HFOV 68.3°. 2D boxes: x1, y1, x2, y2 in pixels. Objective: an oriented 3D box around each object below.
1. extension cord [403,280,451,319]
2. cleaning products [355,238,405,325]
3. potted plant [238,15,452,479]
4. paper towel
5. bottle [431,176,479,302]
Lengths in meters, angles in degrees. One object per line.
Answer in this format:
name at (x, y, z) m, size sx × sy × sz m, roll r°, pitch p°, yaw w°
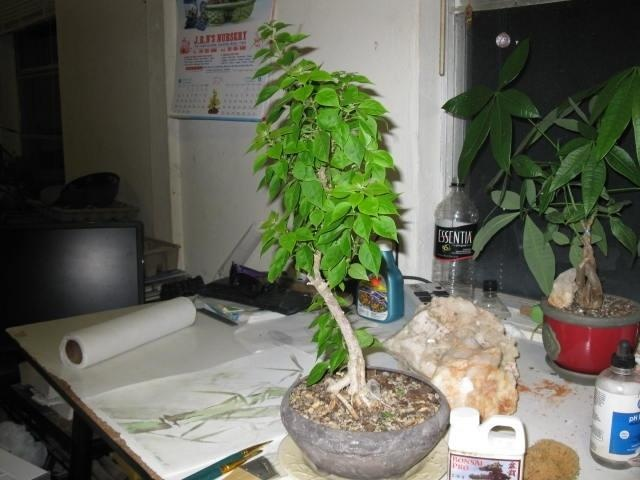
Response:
extension cord at (0.333, 0.175, 1.512) m, size 0.106 × 0.095 × 0.139 m, roll -8°, pitch 17°, yaw -20°
cleaning products at (0.194, 0.108, 1.465) m, size 0.122 × 0.263 × 0.180 m, roll 3°, pitch 7°, yaw 27°
potted plant at (0.018, 0.152, 0.847) m, size 0.258 × 0.948 × 0.340 m, roll 2°, pitch 21°, yaw -17°
paper towel at (-0.529, 0.226, 1.299) m, size 0.220 × 0.149 × 0.261 m, roll 14°, pitch 22°, yaw 33°
bottle at (0.460, 0.002, 1.584) m, size 0.136 × 0.437 × 0.158 m, roll 1°, pitch 4°, yaw -1°
